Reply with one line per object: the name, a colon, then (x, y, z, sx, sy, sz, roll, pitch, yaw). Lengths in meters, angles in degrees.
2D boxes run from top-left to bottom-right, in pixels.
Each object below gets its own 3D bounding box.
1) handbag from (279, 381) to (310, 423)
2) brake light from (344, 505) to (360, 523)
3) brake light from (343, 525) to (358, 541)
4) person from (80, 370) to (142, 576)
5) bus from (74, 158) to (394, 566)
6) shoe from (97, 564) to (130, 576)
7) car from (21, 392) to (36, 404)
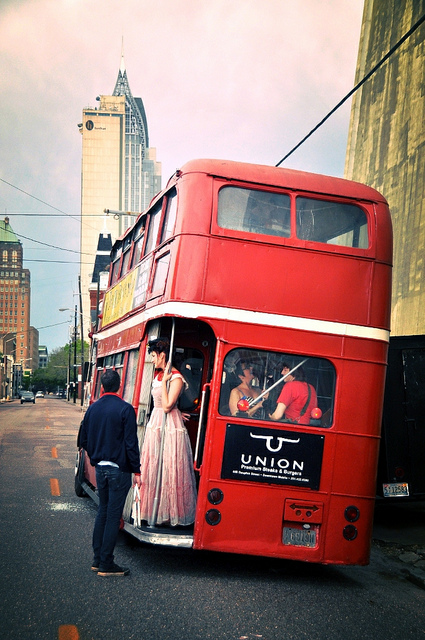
handbag: (0.755, 0.729, 5.058, 0.264, 0.367, 0.073, 5, -2, -26)
brake light: (1.244, 1.699, 4.969, 0.132, 0.146, 0.033, -9, -3, -12)
brake light: (1.220, 1.859, 4.946, 0.134, 0.126, 0.022, 5, -2, -22)
person: (-0.914, 1.318, 4.994, 0.339, 1.408, 0.545, 5, -3, -41)
bus: (-0.136, 0.559, 7.800, 2.498, 3.850, 5.864, 8, -7, -18)
shoe: (-0.845, 2.096, 4.777, 0.250, 0.117, 0.097, 3, -3, -23)
car: (-25.503, 10.483, 77.001, 1.279, 1.152, 2.229, 0, -8, -6)
